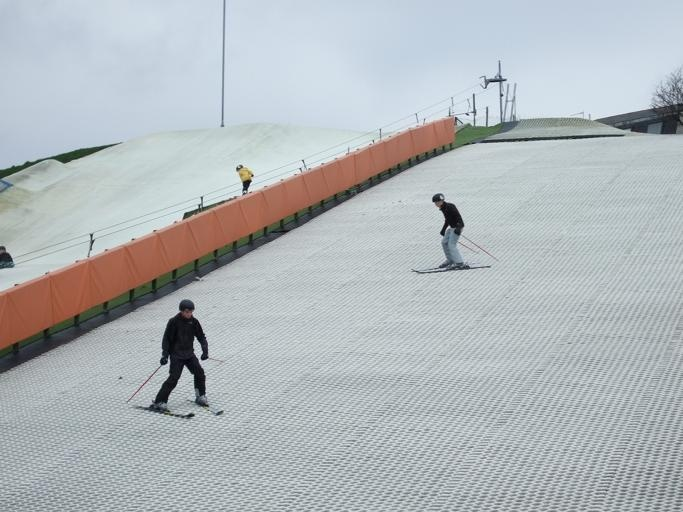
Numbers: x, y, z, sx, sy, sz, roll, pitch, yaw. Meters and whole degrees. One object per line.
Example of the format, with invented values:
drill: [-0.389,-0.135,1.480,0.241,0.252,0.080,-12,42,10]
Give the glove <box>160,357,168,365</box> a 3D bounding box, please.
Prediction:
glove: [-2.841,1.709,11.313,0.117,0.121,0.137,2,-13,-23]

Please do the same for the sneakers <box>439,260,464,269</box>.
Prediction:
sneakers: [2.569,0.210,16.228,0.608,0.191,0.181,3,8,12]

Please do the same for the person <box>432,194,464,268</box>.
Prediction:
person: [2.497,-0.669,16.244,0.619,1.857,1.369,-1,20,9]

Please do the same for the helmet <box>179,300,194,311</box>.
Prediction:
helmet: [-2.489,0.802,11.303,0.197,0.160,0.181,-1,19,7]

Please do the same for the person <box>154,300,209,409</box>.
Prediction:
person: [-2.716,1.628,11.618,0.979,1.911,0.762,-8,21,-9]
